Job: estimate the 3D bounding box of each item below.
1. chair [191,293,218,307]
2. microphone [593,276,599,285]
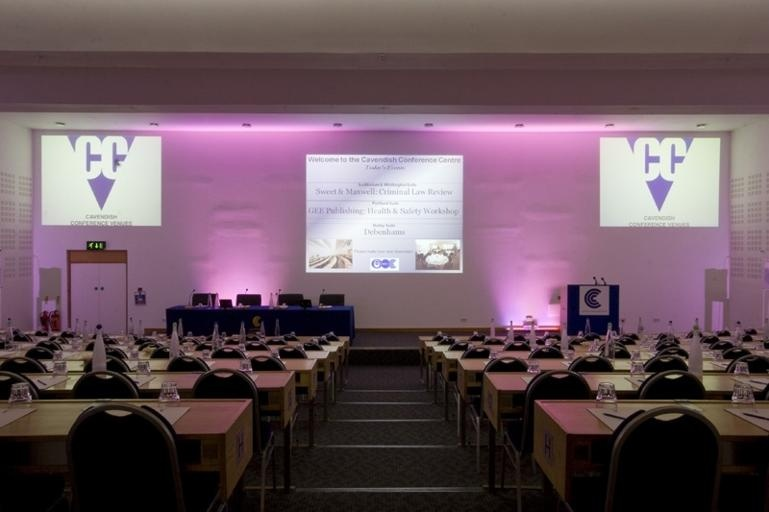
[{"bbox_3d":[-4.504,1.120,16.494,0.424,0.417,0.400,2,-8,-12],"label":"chair"},{"bbox_3d":[5.606,0.656,17.493,0.142,0.164,0.197,0,9,3],"label":"microphone"}]
